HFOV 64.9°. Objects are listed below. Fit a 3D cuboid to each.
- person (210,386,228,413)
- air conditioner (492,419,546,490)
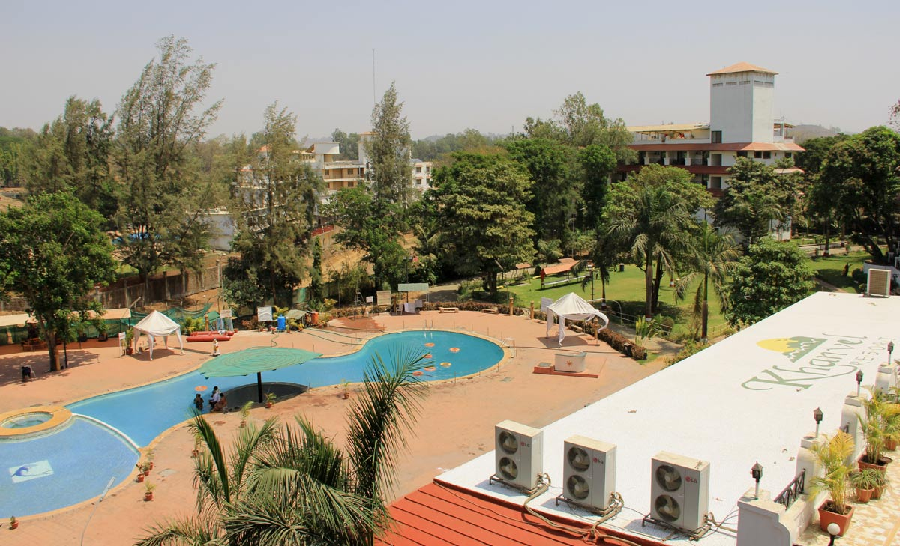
[{"bbox_3d":[-14.409,7.897,44.085,0.928,1.409,1.069,-4,6,-23],"label":"person"},{"bbox_3d":[2.955,7.913,30.216,2.619,3.310,1.283,3,5,37],"label":"air conditioner"}]
